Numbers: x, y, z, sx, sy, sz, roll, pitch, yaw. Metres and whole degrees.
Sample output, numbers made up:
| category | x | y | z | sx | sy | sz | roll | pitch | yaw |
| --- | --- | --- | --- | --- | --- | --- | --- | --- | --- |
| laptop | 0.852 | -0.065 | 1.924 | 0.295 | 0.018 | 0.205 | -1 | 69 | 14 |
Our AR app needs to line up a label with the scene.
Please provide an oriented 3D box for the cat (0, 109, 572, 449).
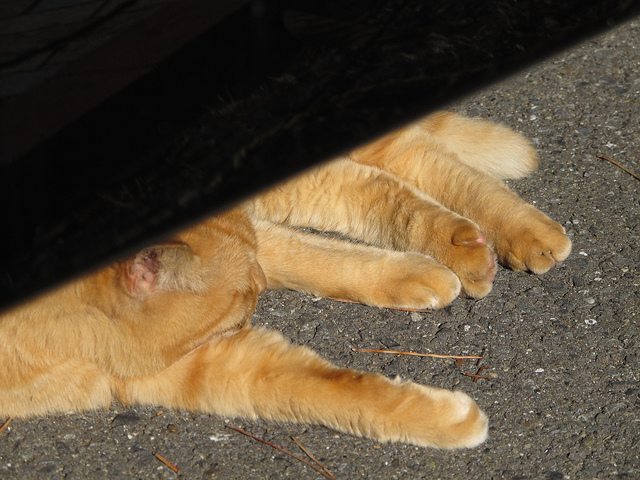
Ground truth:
| category | x | y | z | sx | sy | sz | roll | pitch | yaw |
| --- | --- | --- | --- | --- | --- | --- | --- | --- | --- |
| cat | -0.076 | 0.213 | 3.511 | 1.841 | 1.398 | 0.543 | -13 | -70 | 24 |
